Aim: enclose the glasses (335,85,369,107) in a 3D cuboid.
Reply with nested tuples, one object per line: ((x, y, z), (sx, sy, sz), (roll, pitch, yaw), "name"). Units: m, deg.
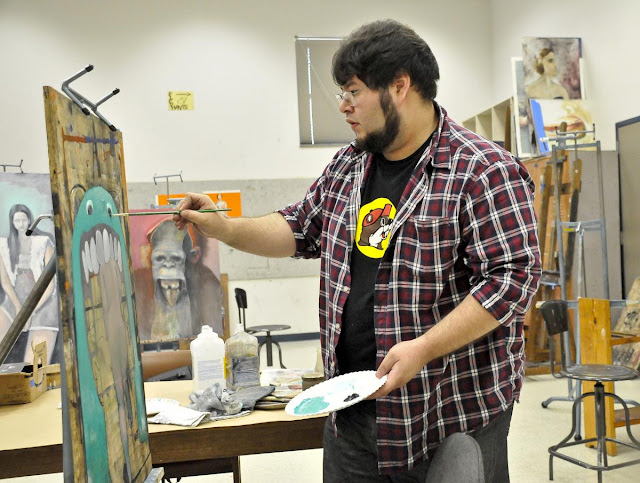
((0.160, -0.627, 3.013), (0.093, 0.033, 0.096), (7, -12, 38), "glasses")

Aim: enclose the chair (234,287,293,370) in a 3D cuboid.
((-0.505, 0.834, 6.537), (0.489, 0.777, 0.400), (-4, -7, -3), "chair")
